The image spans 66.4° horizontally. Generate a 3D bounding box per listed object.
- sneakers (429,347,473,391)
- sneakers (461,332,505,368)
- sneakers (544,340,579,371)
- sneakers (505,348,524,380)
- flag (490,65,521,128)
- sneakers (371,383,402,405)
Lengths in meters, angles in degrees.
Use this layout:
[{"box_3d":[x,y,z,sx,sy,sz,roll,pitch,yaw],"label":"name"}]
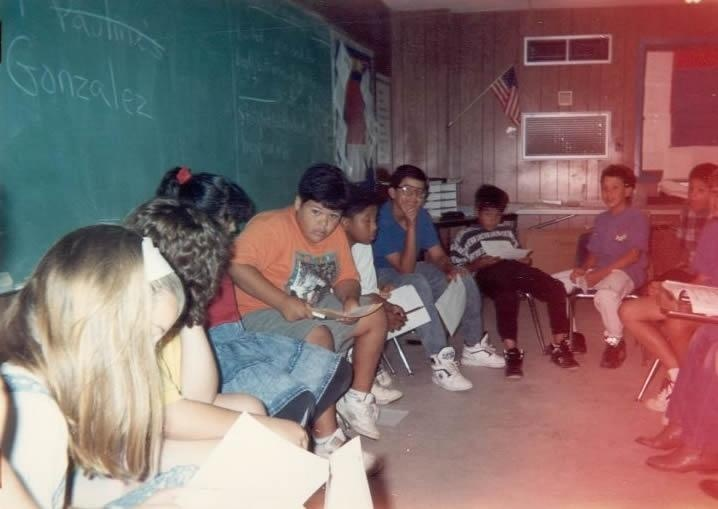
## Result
[{"box_3d":[0.491,0.662,3.253,0.343,0.256,0.145,4,10,38],"label":"sneakers"},{"box_3d":[0.767,0.635,3.585,0.336,0.226,0.131,1,7,7],"label":"sneakers"},{"box_3d":[1.319,0.617,3.568,0.182,0.152,0.291,1,10,14],"label":"sneakers"},{"box_3d":[0.958,0.654,3.390,0.105,0.153,0.243,1,10,15],"label":"sneakers"},{"box_3d":[1.555,-1.681,5.829,0.327,0.616,0.230,1,11,16],"label":"flag"},{"box_3d":[0.144,0.781,3.084,0.217,0.105,0.079,-1,10,0],"label":"sneakers"}]
